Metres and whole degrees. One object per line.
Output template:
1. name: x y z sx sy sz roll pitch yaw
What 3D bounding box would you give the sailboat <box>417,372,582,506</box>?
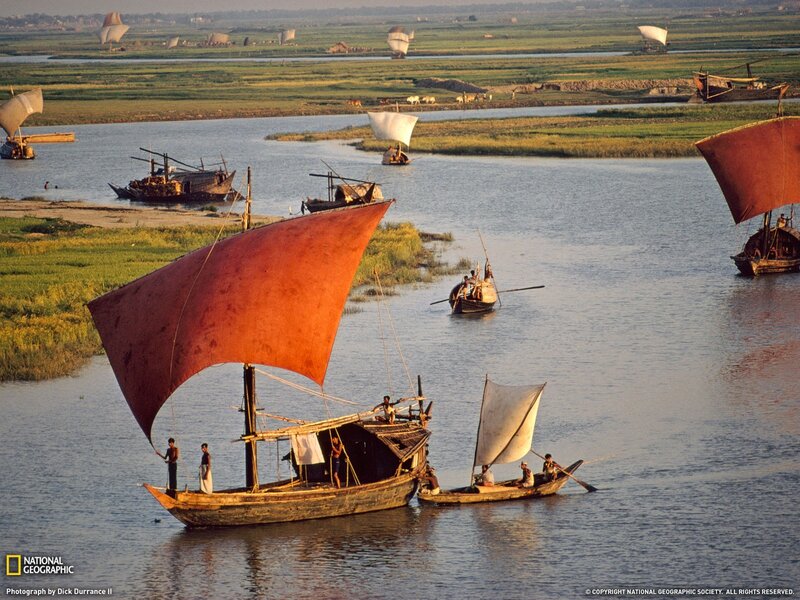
1. sailboat: 5.187 6.872 98.329 8.461 7.167 1.608 -7 25 -17

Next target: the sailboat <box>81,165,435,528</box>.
1. sailboat: -6.711 2.274 97.700 14.354 15.957 7.100 -4 16 -6

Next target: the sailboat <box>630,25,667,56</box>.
1. sailboat: 34.094 -34.719 269.046 3.620 3.203 10.996 0 15 10
